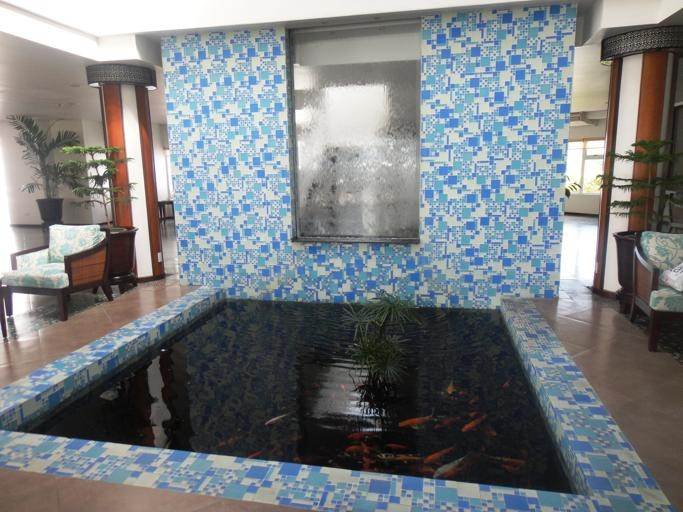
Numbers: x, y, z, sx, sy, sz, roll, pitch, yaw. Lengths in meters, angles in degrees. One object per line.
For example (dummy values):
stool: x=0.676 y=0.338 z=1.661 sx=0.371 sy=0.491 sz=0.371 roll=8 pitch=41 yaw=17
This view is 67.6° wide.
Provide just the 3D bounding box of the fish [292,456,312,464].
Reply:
fish: x=-0.277 y=1.500 z=3.789 sx=0.163 sy=0.023 sz=0.091 roll=1 pitch=10 yaw=4

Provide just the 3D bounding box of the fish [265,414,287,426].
fish: x=-0.542 y=1.345 z=4.197 sx=0.025 sy=0.031 sz=0.114 roll=14 pitch=23 yaw=42

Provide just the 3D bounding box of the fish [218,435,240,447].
fish: x=-0.878 y=1.437 z=3.965 sx=0.030 sy=0.026 sz=0.122 roll=11 pitch=20 yaw=36

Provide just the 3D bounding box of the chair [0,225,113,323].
chair: x=-3.556 y=0.179 z=6.391 sx=1.091 sy=1.027 sz=1.107 roll=2 pitch=12 yaw=8

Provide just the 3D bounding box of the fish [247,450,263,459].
fish: x=-0.652 y=1.489 z=3.839 sx=0.113 sy=0.019 sz=0.063 roll=-6 pitch=12 yaw=-30
